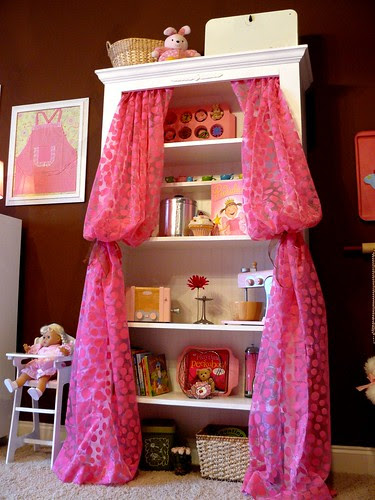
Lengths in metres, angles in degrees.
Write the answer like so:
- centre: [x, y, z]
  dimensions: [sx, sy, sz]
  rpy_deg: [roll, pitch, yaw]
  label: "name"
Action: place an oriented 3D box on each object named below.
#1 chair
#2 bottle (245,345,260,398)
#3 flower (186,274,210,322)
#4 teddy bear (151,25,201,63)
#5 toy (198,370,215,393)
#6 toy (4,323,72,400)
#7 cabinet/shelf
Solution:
- centre: [-0.695, 0.664, 2.187]
  dimensions: [0.300, 0.590, 0.353]
  rpy_deg: [1, -1, -2]
  label: "chair"
- centre: [0.275, 0.539, 2.023]
  dimensions: [0.057, 0.229, 0.219]
  rpy_deg: [1, -1, 8]
  label: "bottle"
- centre: [0.052, 0.236, 2.229]
  dimensions: [0.108, 0.225, 0.282]
  rpy_deg: [1, -1, 0]
  label: "flower"
- centre: [-0.048, -0.974, 2.264]
  dimensions: [0.213, 0.189, 0.127]
  rpy_deg: [3, 4, 1]
  label: "teddy bear"
- centre: [0.085, 0.590, 2.114]
  dimensions: [0.095, 0.115, 0.082]
  rpy_deg: [-8, -13, 1]
  label: "toy"
- centre: [-0.665, 0.496, 2.244]
  dimensions: [0.246, 0.238, 0.455]
  rpy_deg: [0, 14, 17]
  label: "toy"
- centre: [0.066, -0.051, 2.211]
  dimensions: [0.971, 1.623, 0.525]
  rpy_deg: [1, -1, 18]
  label: "cabinet/shelf"
